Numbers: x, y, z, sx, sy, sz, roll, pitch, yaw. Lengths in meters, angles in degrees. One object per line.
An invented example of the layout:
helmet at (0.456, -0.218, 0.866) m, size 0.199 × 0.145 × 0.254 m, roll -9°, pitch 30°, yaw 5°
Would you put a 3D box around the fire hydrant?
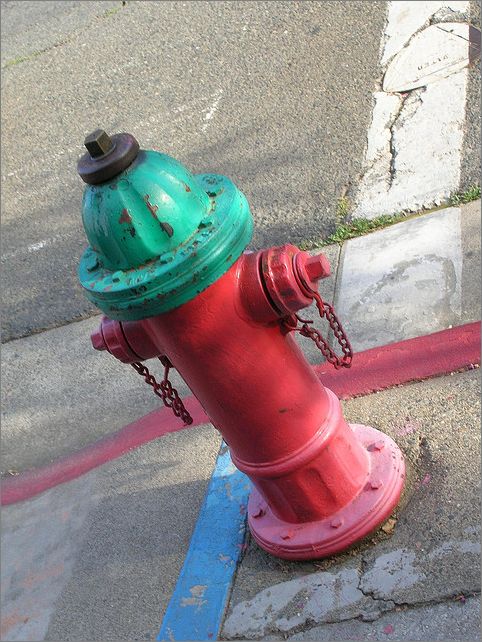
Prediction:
fire hydrant at (-0.017, 0.146, 4.127) m, size 1.084 × 2.305 × 0.741 m, roll -23°, pitch 31°, yaw 8°
